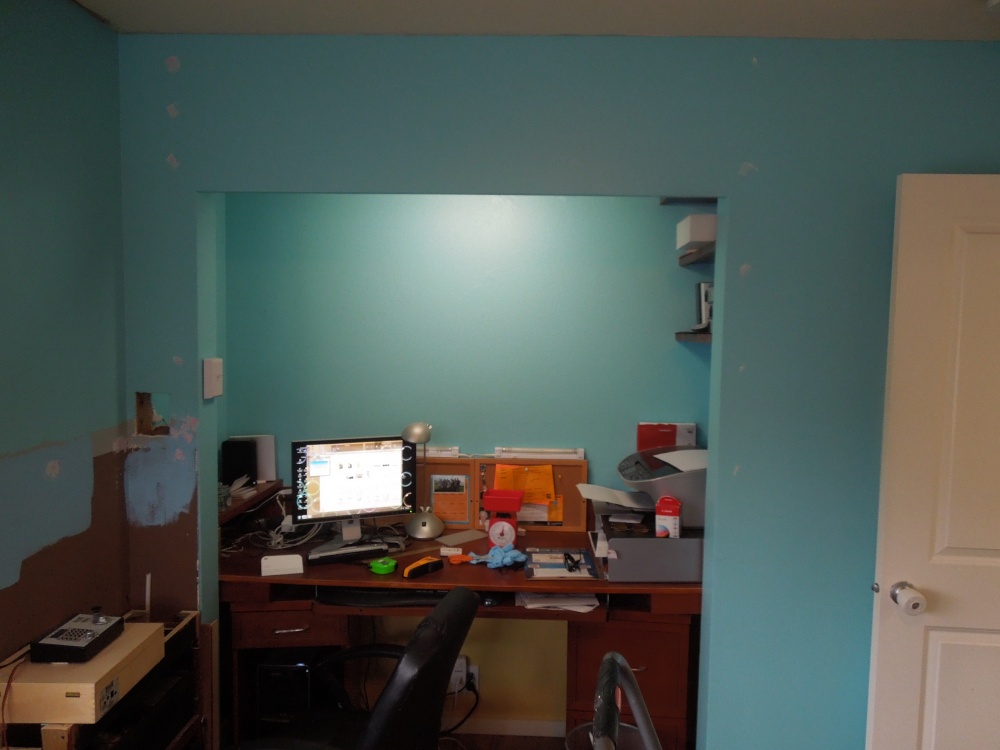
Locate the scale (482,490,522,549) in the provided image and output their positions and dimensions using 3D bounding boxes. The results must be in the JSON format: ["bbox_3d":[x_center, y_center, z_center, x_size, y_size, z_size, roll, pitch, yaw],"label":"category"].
[{"bbox_3d":[0.032,0.663,3.840,0.216,0.358,0.202,1,-3,3],"label":"scale"}]

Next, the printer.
[{"bbox_3d":[0.723,0.504,3.757,0.390,0.249,0.320,1,-1,6],"label":"printer"}]

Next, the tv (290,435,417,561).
[{"bbox_3d":[-0.662,0.549,3.735,0.519,0.469,0.202,0,-3,-19],"label":"tv"}]

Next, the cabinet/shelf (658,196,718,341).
[{"bbox_3d":[0.917,-0.516,4.044,0.265,0.563,0.526,-1,-1,14],"label":"cabinet/shelf"}]

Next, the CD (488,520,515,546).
[{"bbox_3d":[0.010,0.706,3.734,0.100,0.099,0.110,0,-16,3],"label":"CD"}]
